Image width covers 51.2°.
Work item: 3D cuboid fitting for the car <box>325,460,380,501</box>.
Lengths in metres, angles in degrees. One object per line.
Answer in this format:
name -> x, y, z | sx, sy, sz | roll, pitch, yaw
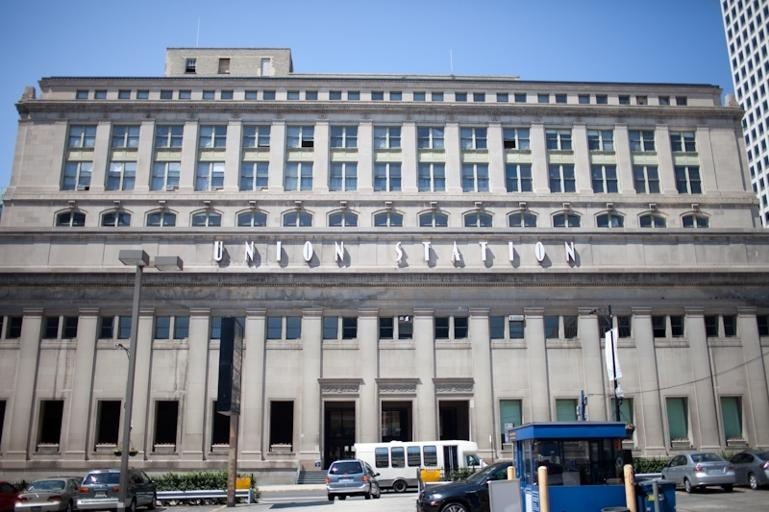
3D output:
car -> -2.412, 16.234, 58.385 | 3.901, 2.875, 2.751 | 4, -20, -18
